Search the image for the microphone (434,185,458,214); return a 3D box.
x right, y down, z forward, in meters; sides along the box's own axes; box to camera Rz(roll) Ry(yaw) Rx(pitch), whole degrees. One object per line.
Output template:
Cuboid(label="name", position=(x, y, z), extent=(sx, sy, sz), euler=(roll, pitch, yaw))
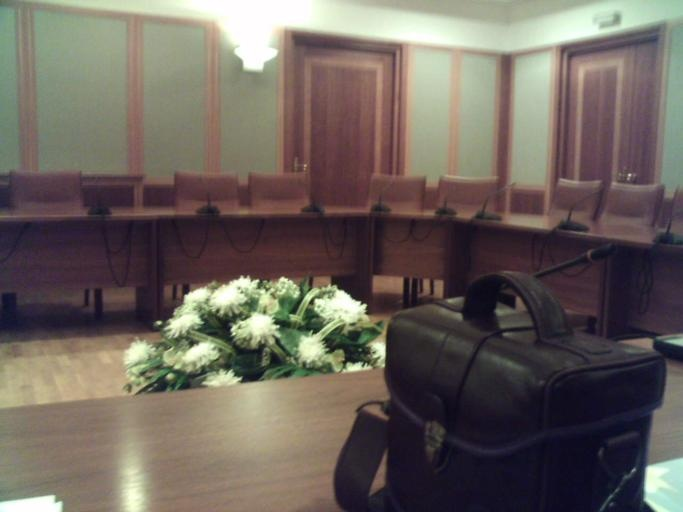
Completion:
Cuboid(label="microphone", position=(0.781, -0.414, 3.853), extent=(0.211, 0.230, 0.207), euler=(-3, 10, -6))

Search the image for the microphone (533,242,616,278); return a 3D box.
Cuboid(label="microphone", position=(0.984, 0.016, 2.196), extent=(0.437, 0.063, 0.065), euler=(-23, -18, 30))
